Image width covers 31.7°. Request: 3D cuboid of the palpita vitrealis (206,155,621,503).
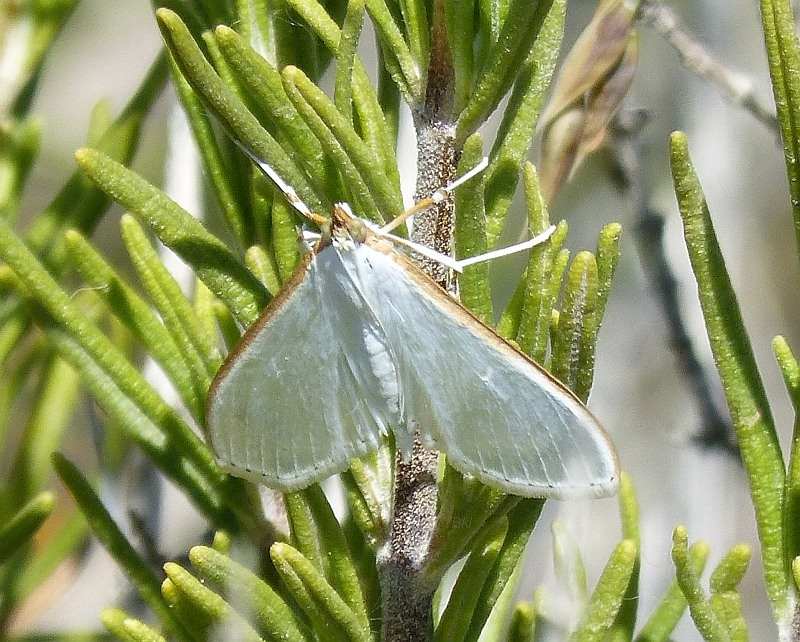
[{"bbox_3d":[-0.043,0.073,1.730,0.174,0.462,0.625,-41,31,-29],"label":"palpita vitrealis"}]
